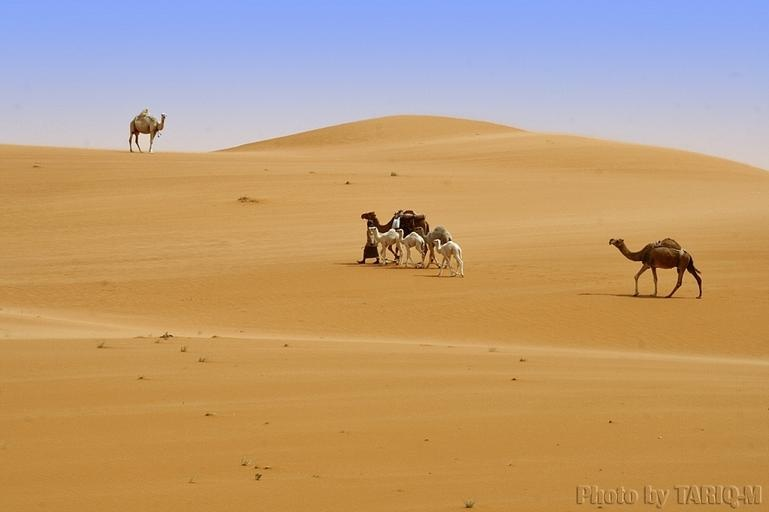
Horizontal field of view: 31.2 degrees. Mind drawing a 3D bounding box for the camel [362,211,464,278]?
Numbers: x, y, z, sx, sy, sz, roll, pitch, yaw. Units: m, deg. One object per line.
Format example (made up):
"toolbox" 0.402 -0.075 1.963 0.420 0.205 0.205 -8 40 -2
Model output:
"camel" 0.995 -0.511 46.021 2.093 1.786 4.842 -2 6 -26
